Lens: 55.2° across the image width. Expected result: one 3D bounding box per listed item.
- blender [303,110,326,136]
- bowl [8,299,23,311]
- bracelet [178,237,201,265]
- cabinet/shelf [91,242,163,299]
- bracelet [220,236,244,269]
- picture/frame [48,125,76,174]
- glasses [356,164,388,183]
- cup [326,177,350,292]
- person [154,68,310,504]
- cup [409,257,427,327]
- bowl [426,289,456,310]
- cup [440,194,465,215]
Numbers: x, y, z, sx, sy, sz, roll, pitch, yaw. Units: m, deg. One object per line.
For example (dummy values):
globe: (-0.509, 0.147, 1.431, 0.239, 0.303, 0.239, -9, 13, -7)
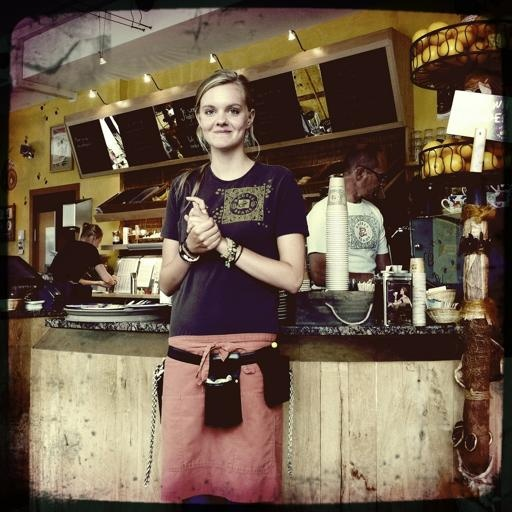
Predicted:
blender: (0.468, -1.088, 4.046, 0.147, 0.213, 0.077, -9, 3, 27)
bowl: (-1.093, 0.220, 2.217, 0.038, 0.037, 0.211, -4, 4, -17)
bracelet: (-0.192, -0.016, 1.350, 0.053, 0.060, 0.023, 4, -9, -2)
cabinet/shelf: (-1.357, 0.166, 5.220, 0.617, 0.544, 0.219, -3, -7, 35)
bracelet: (-0.055, -0.016, 1.292, 0.052, 0.069, 0.032, 6, -1, -6)
picture/frame: (-2.597, -1.448, 6.616, 0.708, 0.819, 0.036, 1, 4, 44)
glasses: (0.691, -0.498, 2.928, 0.036, 0.120, 0.116, -44, -24, 16)
cup: (0.300, -0.096, 1.852, 0.088, 0.430, 0.174, -3, 3, 10)
person: (-0.090, 0.110, 1.453, 0.483, 1.278, 0.287, -3, 3, -5)
cup: (0.593, 0.130, 1.802, 0.049, 0.236, 0.062, -2, 3, 16)
bowl: (0.689, 0.162, 1.830, 0.073, 0.043, 0.086, 2, -11, -9)
cup: (0.812, -0.214, 2.027, 0.094, 0.093, 0.059, -1, 1, -8)
